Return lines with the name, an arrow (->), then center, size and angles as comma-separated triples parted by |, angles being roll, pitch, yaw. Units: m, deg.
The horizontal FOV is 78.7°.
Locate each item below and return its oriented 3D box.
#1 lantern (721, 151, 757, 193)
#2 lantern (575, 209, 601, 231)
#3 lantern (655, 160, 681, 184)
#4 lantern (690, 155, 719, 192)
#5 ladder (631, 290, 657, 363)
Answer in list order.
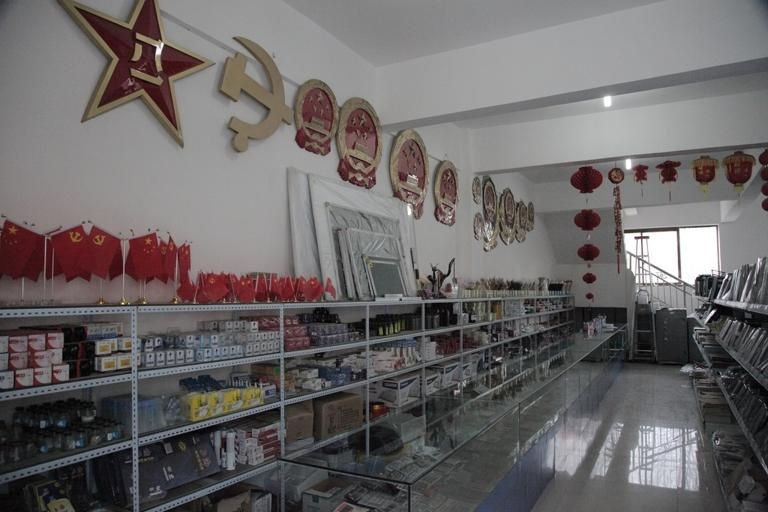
lantern -> 4.813, -1.163, 6.366 | 0.382, 0.516, 0.373 | 7, -11, -34
lantern -> 4.105, -0.737, 9.457 | 0.401, 0.274, 0.485 | -7, -5, 30
lantern -> 4.890, -1.467, 8.025 | 0.231, 0.298, 0.396 | -6, -4, 25
lantern -> 4.652, -1.208, 6.811 | 0.355, 0.559, 0.371 | 5, -3, -20
ladder -> 7.770, 2.304, 14.046 | 0.656, 1.476, 0.514 | -6, -4, 30
